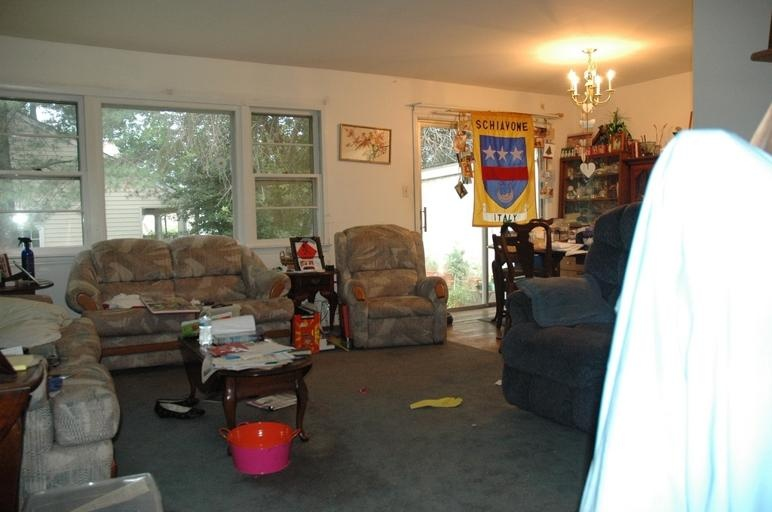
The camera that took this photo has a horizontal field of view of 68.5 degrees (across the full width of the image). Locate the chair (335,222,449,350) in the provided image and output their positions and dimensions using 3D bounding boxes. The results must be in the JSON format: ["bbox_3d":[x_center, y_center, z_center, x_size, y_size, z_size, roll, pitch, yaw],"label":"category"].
[{"bbox_3d":[0.029,0.276,5.598,1.022,1.094,0.911,-2,7,-7],"label":"chair"}]

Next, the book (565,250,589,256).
[{"bbox_3d":[1.820,-0.022,5.354,0.121,0.029,0.123,-4,5,-36],"label":"book"}]

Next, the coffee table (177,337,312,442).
[{"bbox_3d":[-0.789,0.906,3.271,0.524,0.436,0.923,-4,7,-32],"label":"coffee table"}]

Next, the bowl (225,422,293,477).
[{"bbox_3d":[-0.652,1.020,2.970,0.279,0.226,0.273,-1,7,0],"label":"bowl"}]

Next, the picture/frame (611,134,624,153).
[{"bbox_3d":[2.858,-1.379,6.975,0.049,0.243,0.218,1,12,-25],"label":"picture/frame"}]

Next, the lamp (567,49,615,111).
[{"bbox_3d":[2.072,-1.780,5.710,0.419,0.582,0.463,1,14,22],"label":"lamp"}]

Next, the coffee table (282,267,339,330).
[{"bbox_3d":[-0.716,0.393,5.748,0.627,0.707,0.558,-1,2,-29],"label":"coffee table"}]

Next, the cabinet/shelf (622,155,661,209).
[{"bbox_3d":[2.995,-0.908,6.717,0.326,0.529,0.197,4,9,32],"label":"cabinet/shelf"}]

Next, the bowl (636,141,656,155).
[{"bbox_3d":[3.126,-1.288,6.829,0.222,0.147,0.177,3,-4,-5],"label":"bowl"}]

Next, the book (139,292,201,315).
[{"bbox_3d":[-1.776,0.404,4.645,0.424,0.143,0.409,-4,8,-26],"label":"book"}]

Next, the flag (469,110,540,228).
[{"bbox_3d":[1.445,-1.054,6.969,0.959,1.406,0.319,-4,8,-25],"label":"flag"}]
